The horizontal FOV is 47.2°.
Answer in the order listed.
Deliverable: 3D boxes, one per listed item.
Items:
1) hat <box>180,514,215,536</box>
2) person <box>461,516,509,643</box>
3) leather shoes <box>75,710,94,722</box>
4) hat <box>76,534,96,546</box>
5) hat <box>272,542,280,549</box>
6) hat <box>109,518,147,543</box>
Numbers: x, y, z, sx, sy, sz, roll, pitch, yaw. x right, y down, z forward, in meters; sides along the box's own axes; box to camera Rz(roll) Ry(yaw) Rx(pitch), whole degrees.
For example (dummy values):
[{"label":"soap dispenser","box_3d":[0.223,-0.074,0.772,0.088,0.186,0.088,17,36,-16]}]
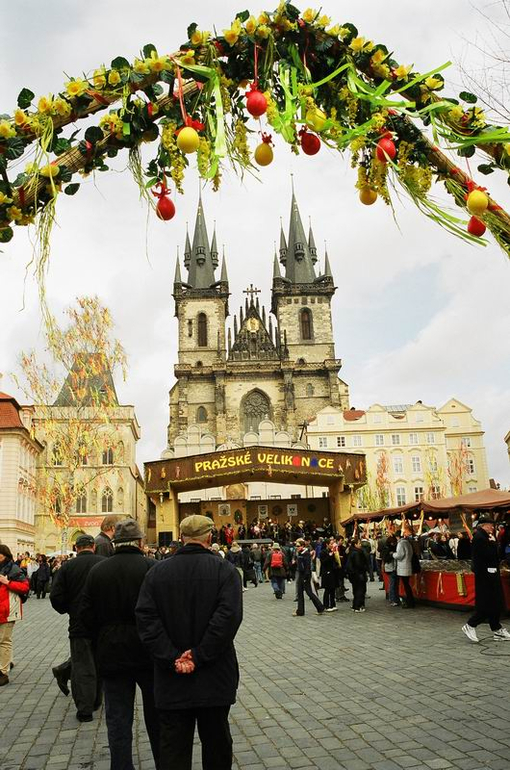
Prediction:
[{"label":"hat","box_3d":[-0.307,0.747,3.135,0.127,0.054,0.156,0,0,1]},{"label":"person","box_3d":[3.389,2.944,8.776,0.648,1.850,0.684,-8,-13,15]},{"label":"leather shoes","box_3d":[-1.598,3.104,5.438,0.137,0.052,0.104,-10,-21,12]},{"label":"hat","box_3d":[-1.732,1.583,5.900,0.176,0.088,0.229,3,-8,-6]},{"label":"hat","box_3d":[0.744,5.736,20.575,0.310,0.132,0.431,1,-8,-2]},{"label":"hat","box_3d":[-0.862,0.991,3.925,0.207,0.110,0.209,1,-1,-6]}]
